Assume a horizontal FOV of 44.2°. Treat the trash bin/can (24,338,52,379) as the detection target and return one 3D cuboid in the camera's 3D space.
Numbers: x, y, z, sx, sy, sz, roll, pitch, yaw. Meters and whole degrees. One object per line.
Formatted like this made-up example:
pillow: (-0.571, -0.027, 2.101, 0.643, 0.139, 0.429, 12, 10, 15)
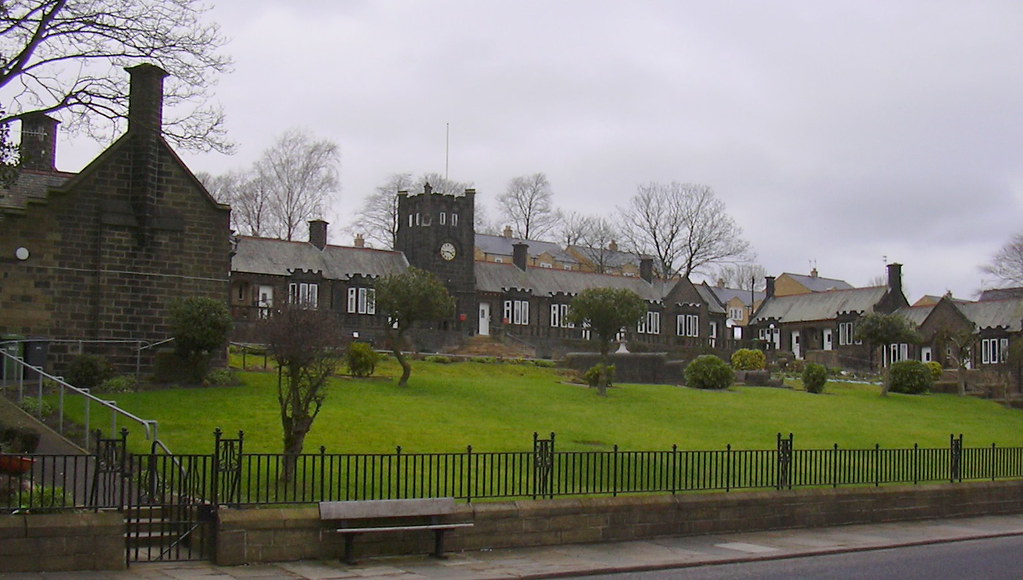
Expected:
trash bin/can: (-20.062, 2.787, 53.306, 1.056, 1.764, 1.784, 2, 11, -20)
